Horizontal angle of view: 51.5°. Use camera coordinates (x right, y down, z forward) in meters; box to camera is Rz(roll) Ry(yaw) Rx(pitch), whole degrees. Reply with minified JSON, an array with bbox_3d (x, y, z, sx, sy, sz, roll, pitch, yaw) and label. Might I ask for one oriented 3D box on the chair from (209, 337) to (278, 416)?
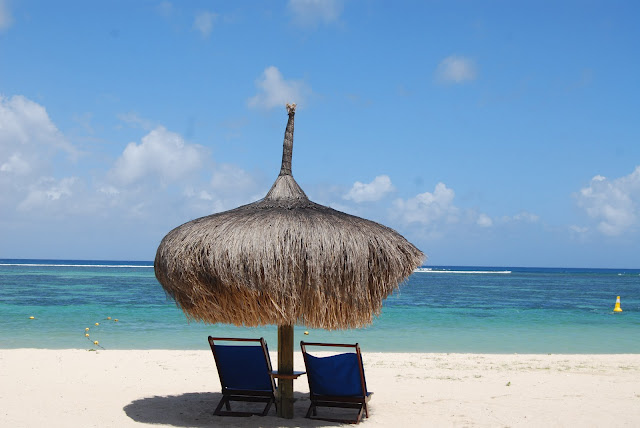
[{"bbox_3d":[-1.454,3.393,13.342,1.321,1.570,1.885,2,-14,1],"label":"chair"}]
